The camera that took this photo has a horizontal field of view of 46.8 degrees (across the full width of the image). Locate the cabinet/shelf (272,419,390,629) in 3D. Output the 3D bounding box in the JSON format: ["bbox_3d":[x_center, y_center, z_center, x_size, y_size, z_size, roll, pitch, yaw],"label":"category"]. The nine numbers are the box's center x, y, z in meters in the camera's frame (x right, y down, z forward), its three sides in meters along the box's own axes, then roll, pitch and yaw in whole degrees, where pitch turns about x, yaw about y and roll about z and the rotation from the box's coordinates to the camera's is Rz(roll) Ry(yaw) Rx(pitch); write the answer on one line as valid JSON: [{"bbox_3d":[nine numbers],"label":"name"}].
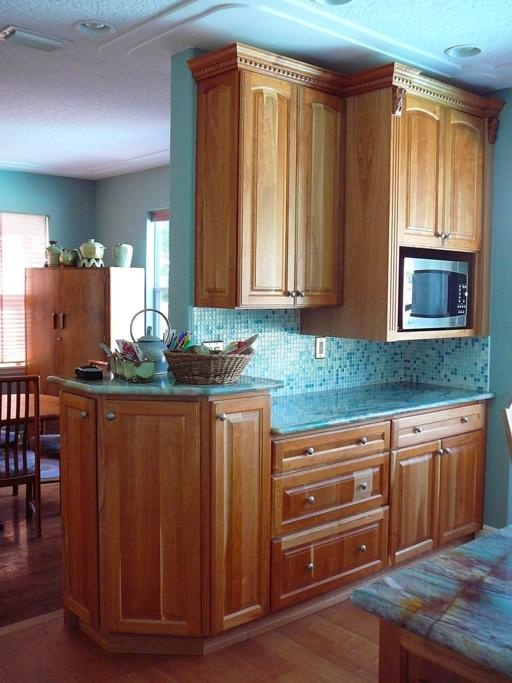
[{"bbox_3d":[0.249,0.727,2.727,0.644,0.788,0.409,-4,7,-33],"label":"cabinet/shelf"}]

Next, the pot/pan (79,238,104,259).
[{"bbox_3d":[-1.462,-0.821,5.303,0.186,0.170,0.194,1,2,-3],"label":"pot/pan"}]

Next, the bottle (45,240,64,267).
[{"bbox_3d":[-1.882,-0.815,5.518,0.130,0.243,0.295,0,2,-29],"label":"bottle"}]

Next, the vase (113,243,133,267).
[{"bbox_3d":[-1.161,-0.762,5.199,0.206,0.268,0.217,0,-2,-6],"label":"vase"}]

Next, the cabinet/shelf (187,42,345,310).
[{"bbox_3d":[0.054,-0.695,2.690,0.359,1.094,0.725,3,3,44],"label":"cabinet/shelf"}]
